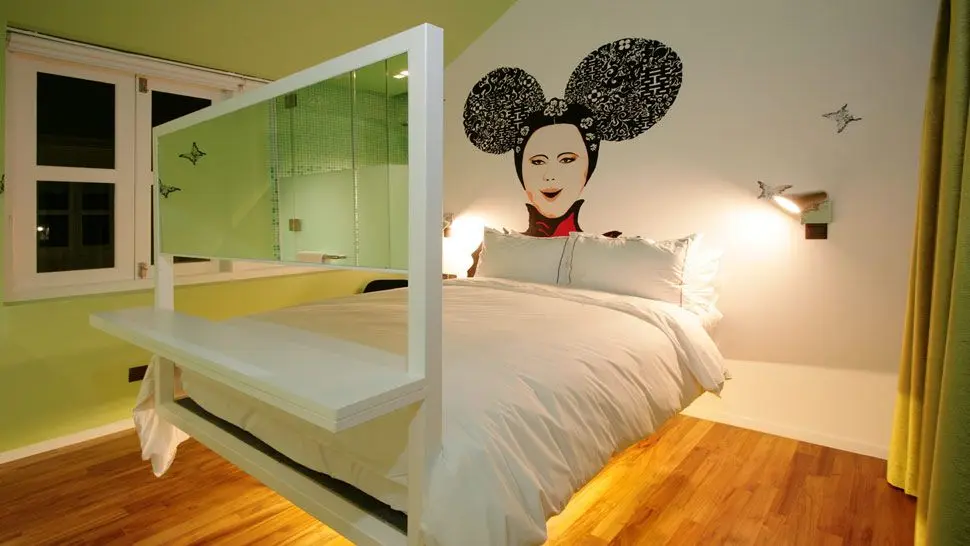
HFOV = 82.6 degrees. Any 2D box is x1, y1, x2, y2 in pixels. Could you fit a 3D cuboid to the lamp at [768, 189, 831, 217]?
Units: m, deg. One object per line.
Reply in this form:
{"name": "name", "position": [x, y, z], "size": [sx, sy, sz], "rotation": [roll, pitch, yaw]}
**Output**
{"name": "lamp", "position": [2.354, -0.512, 4.114], "size": [0.204, 0.095, 0.279], "rotation": [6, -13, -35]}
